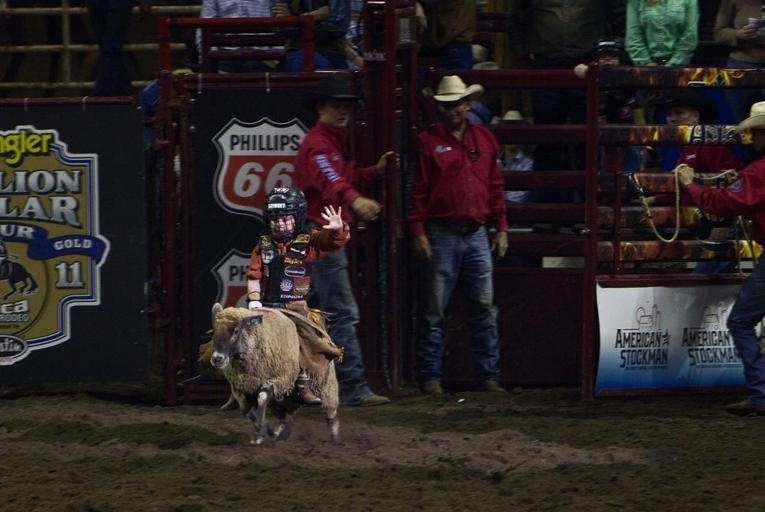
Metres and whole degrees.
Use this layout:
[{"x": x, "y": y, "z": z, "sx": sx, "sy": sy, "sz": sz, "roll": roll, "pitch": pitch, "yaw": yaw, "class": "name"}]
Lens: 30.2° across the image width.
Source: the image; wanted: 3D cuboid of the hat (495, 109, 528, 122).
[{"x": 1.496, "y": -1.648, "z": 16.605, "sx": 0.400, "sy": 0.103, "sz": 0.361, "roll": 1, "pitch": -9, "yaw": -1, "class": "hat"}]

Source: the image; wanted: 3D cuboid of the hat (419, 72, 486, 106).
[{"x": 0.725, "y": -1.672, "z": 14.216, "sx": 0.566, "sy": 0.263, "sz": 0.447, "roll": 2, "pitch": 1, "yaw": 1, "class": "hat"}]

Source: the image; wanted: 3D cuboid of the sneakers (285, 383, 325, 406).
[{"x": -0.636, "y": 1.277, "z": 12.820, "sx": 0.461, "sy": 0.232, "sz": 0.134, "roll": -1, "pitch": 1, "yaw": 10, "class": "sneakers"}]

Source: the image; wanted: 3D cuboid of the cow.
[{"x": -1.054, "y": 1.136, "z": 12.908, "sx": 0.869, "sy": 1.081, "sz": 1.743, "roll": -11, "pitch": -12, "yaw": 21, "class": "cow"}]

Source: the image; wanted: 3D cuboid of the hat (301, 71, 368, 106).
[{"x": -0.428, "y": -1.650, "z": 13.861, "sx": 0.789, "sy": 0.272, "sz": 0.794, "roll": 7, "pitch": 1, "yaw": -15, "class": "hat"}]

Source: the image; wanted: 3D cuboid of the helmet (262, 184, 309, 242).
[{"x": -0.955, "y": -0.298, "z": 12.927, "sx": 0.407, "sy": 0.401, "sz": 0.461, "roll": -11, "pitch": -19, "yaw": 0, "class": "helmet"}]

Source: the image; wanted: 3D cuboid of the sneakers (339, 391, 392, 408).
[{"x": -0.163, "y": 1.442, "z": 13.991, "sx": 0.475, "sy": 0.142, "sz": 0.155, "roll": -2, "pitch": -1, "yaw": 11, "class": "sneakers"}]
